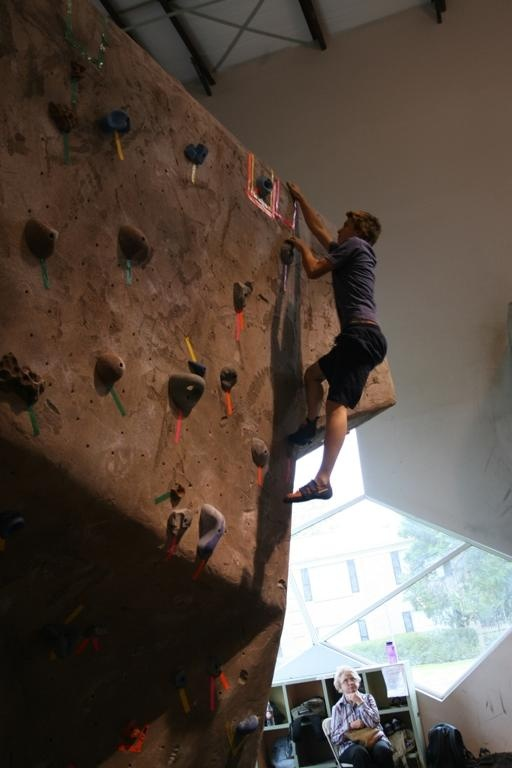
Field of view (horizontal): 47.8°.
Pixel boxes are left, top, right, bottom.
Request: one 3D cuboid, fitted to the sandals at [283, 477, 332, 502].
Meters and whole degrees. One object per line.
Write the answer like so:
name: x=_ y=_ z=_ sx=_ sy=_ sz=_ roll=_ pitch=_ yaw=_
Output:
sandals: x=0.221 y=0.450 z=2.399 sx=0.229 sy=0.116 sz=0.087 roll=-1 pitch=13 yaw=2
